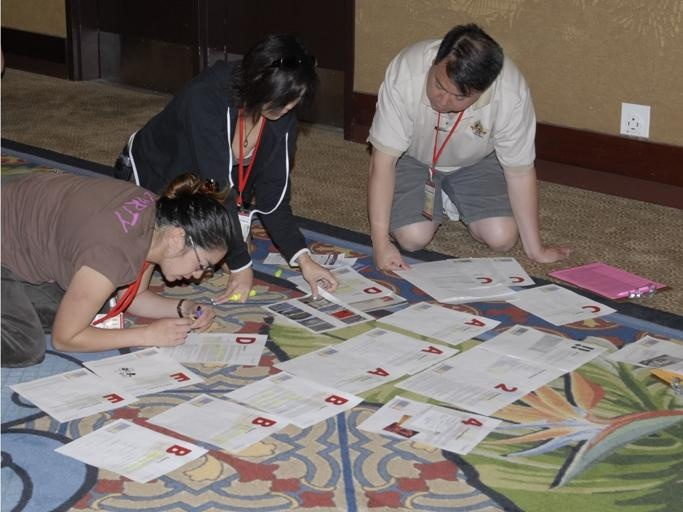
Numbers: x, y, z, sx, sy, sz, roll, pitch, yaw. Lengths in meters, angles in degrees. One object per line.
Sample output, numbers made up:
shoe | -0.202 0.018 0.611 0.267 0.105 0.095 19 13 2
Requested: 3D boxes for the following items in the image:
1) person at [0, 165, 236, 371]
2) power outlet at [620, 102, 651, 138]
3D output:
person | -0.545 0.067 1.757 1.094 0.359 0.484 10 44 -12
power outlet | 1.786 -0.843 3.248 0.265 0.230 0.023 11 29 36
